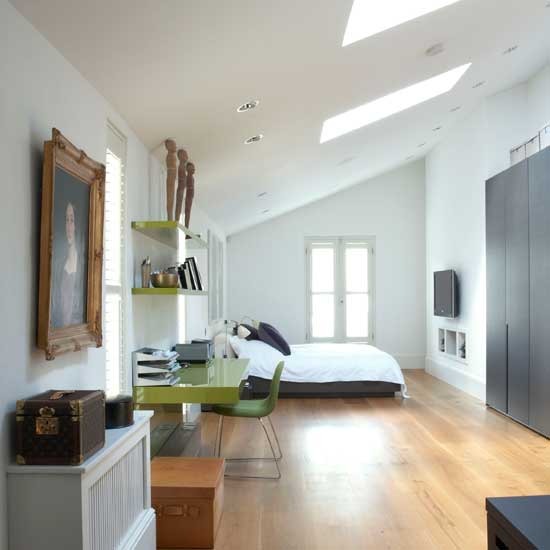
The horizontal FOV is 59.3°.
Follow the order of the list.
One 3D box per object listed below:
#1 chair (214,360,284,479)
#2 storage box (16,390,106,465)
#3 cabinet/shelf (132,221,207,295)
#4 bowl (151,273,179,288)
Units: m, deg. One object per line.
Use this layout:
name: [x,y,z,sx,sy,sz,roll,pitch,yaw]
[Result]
chair: [-0.136,1.027,3.609,0.552,1.164,0.627,2,-8,-1]
storage box: [-0.673,0.472,1.532,0.221,0.200,0.198,0,-1,7]
cabinet/shelf: [-0.676,-0.073,3.440,0.380,0.390,1.903,0,-1,-8]
bowl: [-0.603,0.029,2.649,0.149,0.080,0.095,0,-1,-18]
